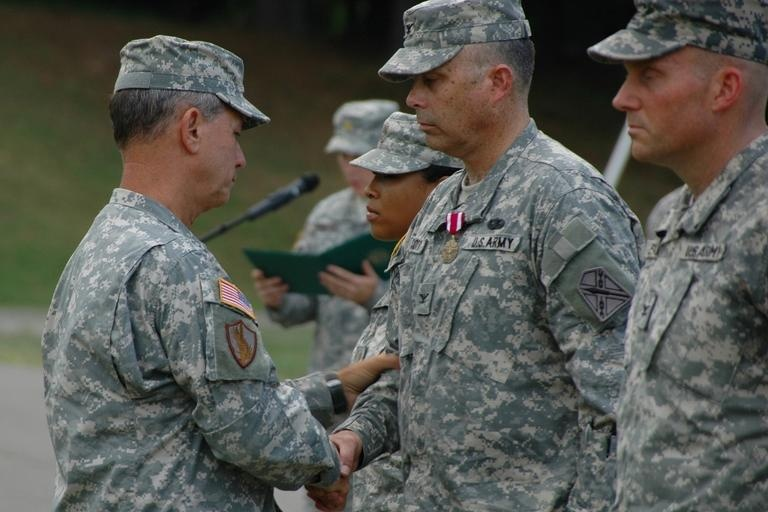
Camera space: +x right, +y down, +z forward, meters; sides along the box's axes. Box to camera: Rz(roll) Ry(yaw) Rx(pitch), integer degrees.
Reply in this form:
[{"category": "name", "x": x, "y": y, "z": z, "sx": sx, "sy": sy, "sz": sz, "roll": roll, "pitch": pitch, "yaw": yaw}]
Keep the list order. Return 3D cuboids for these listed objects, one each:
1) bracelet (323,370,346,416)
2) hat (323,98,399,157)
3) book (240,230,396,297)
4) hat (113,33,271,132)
[{"category": "bracelet", "x": -0.347, "y": 1.186, "z": 15.077, "sx": 0.173, "sy": 0.309, "sz": 0.316, "roll": -16, "pitch": -14, "yaw": 19}, {"category": "hat", "x": -0.184, "y": -1.263, "z": 17.993, "sx": 0.534, "sy": 0.404, "sz": 0.739, "roll": 7, "pitch": 30, "yaw": 31}, {"category": "book", "x": -0.562, "y": 0.075, "z": 16.648, "sx": 1.201, "sy": 0.644, "sz": 0.202, "roll": -3, "pitch": 50, "yaw": 8}, {"category": "hat", "x": -1.607, "y": -1.400, "z": 14.511, "sx": 1.079, "sy": 0.494, "sz": 0.701, "roll": 6, "pitch": -4, "yaw": -9}]
